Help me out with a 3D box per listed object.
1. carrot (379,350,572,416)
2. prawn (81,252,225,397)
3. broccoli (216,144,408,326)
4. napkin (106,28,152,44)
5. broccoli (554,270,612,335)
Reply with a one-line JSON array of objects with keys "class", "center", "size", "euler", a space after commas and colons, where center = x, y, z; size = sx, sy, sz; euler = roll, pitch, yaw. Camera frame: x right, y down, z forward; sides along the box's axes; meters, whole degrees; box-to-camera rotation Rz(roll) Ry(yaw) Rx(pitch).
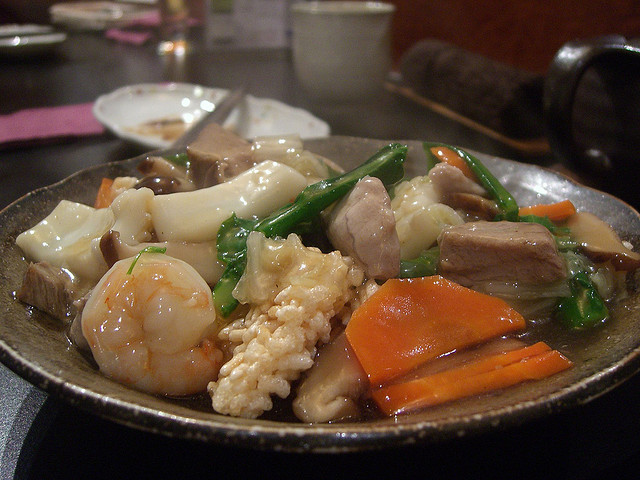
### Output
[{"class": "carrot", "center": [0.335, 0.315, 1.277], "size": [0.284, 0.032, 0.066], "euler": [-16, 24, -7]}, {"class": "prawn", "center": [-0.391, 0.202, 1.389], "size": [0.301, 0.116, 0.317], "euler": [-43, 90, -16]}, {"class": "broccoli", "center": [-0.031, -0.050, 1.641], "size": [0.627, 0.175, 0.291], "euler": [-35, 66, -20]}, {"class": "napkin", "center": [-1.673, -1.787, 5.109], "size": [0.265, 0.033, 0.268], "euler": [-22, 39, -30]}, {"class": "broccoli", "center": [0.655, 0.164, 1.442], "size": [0.115, 0.060, 0.164], "euler": [7, 51, 20]}]
